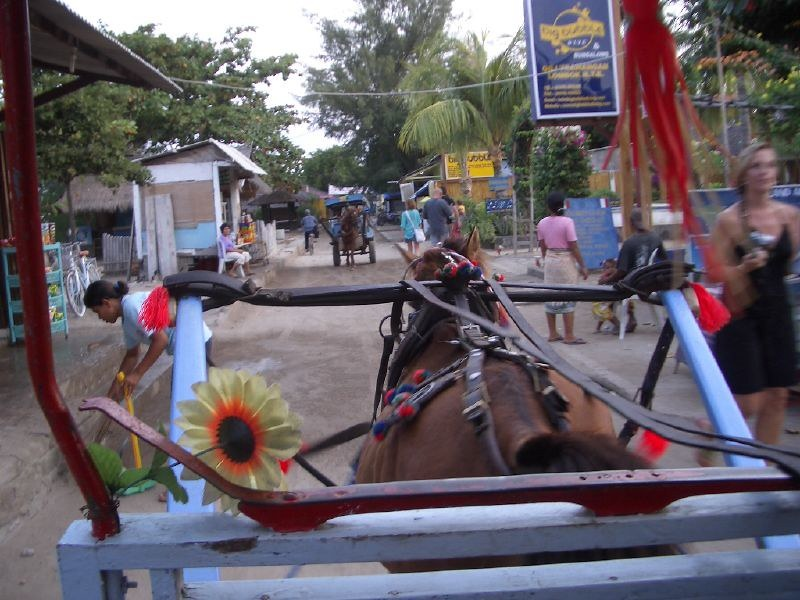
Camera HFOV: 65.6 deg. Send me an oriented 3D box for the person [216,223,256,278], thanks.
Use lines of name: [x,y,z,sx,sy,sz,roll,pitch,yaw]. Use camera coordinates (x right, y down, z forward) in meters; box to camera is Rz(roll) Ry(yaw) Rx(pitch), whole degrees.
person: [-3.814,-1.081,14.245,0.674,1.342,2.863,-4,13,-14]

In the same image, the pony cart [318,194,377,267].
pony cart: [-1.534,-2.129,19.258,1.290,2.278,4.350,-1,14,-2]

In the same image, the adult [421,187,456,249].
adult: [0.799,-1.600,12.886,0.555,1.575,0.480,2,26,17]

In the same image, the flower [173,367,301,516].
flower: [-0.352,0.285,1.364,0.256,0.263,0.168,-2,12,-7]

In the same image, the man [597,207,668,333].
man: [2.486,-0.319,6.650,0.518,1.316,0.699,-9,15,-13]

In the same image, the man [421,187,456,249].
man: [0.806,-1.598,12.884,0.564,1.567,0.494,3,25,19]

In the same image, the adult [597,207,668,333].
adult: [2.469,-0.225,6.664,0.521,1.374,0.750,0,1,-18]

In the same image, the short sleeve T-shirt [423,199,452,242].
short sleeve T-shirt: [0.782,-1.663,12.893,0.563,1.468,0.472,-1,36,9]
